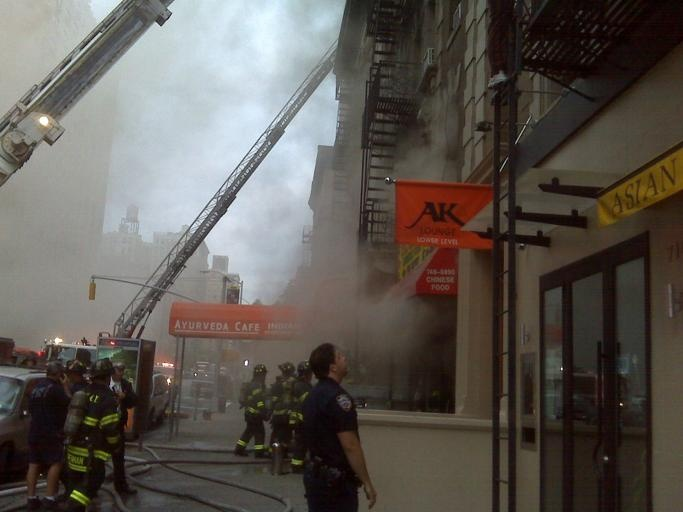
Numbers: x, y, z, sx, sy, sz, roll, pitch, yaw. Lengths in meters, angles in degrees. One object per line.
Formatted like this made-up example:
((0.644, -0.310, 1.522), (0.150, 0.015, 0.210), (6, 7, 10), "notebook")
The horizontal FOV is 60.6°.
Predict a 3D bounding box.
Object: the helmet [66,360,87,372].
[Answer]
((-3.876, 1.599, 8.583), (0.243, 0.203, 0.367), (0, -9, -7), "helmet")

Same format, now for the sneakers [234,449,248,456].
((-2.212, 4.310, 12.919), (0.249, 0.170, 0.575), (4, -17, -2), "sneakers")

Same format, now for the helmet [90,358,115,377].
((-3.061, 1.428, 7.488), (0.252, 0.231, 0.250), (9, -18, -20), "helmet")

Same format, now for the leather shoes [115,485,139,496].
((-3.288, 3.575, 8.953), (0.324, 0.154, 0.130), (6, -2, -8), "leather shoes")
